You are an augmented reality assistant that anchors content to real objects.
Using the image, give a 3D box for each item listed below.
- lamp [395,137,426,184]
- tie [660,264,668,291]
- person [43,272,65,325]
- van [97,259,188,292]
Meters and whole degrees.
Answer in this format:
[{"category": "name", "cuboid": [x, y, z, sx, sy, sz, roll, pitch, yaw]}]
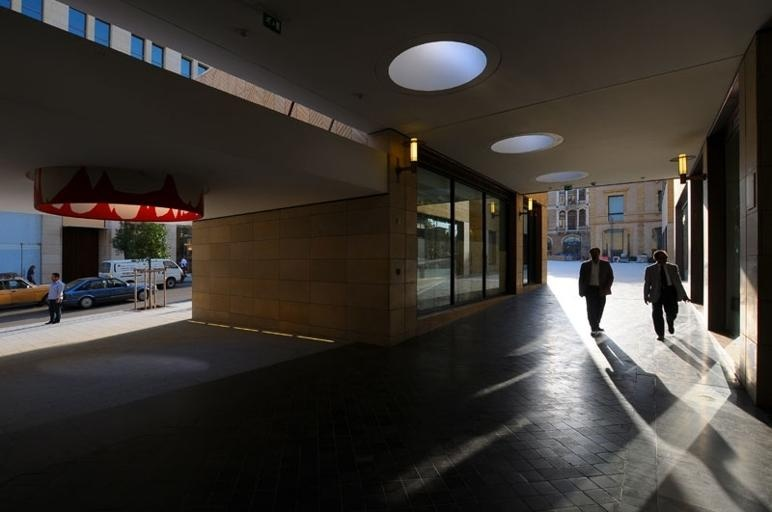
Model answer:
[{"category": "lamp", "cuboid": [0.500, -2.214, 10.644, 0.610, 0.928, 1.211, 0, 14, 4]}, {"category": "tie", "cuboid": [6.198, 0.472, 10.392, 0.116, 0.464, 0.194, -13, 18, -41]}, {"category": "person", "cuboid": [-10.062, 1.276, 14.082, 0.509, 1.639, 0.761, -12, 17, -38]}, {"category": "van", "cuboid": [-11.864, 0.922, 22.608, 2.738, 1.271, 1.483, -5, 5, -43]}]
